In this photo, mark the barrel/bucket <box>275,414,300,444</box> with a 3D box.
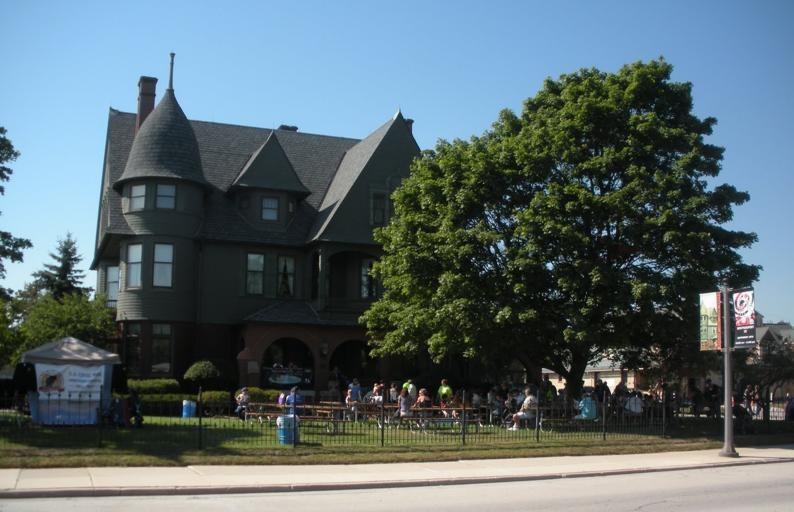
[{"bbox_3d":[-4.434,7.001,39.574,1.137,1.199,1.099,0,-2,0],"label":"barrel/bucket"}]

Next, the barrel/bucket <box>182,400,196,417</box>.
[{"bbox_3d":[-10.360,7.687,49.370,0.743,0.879,1.510,3,-11,-13],"label":"barrel/bucket"}]
